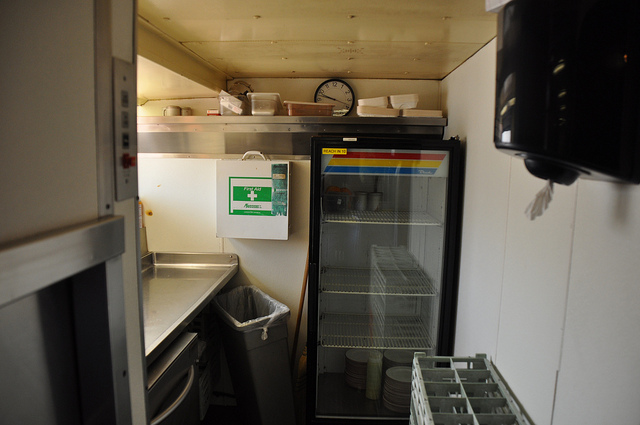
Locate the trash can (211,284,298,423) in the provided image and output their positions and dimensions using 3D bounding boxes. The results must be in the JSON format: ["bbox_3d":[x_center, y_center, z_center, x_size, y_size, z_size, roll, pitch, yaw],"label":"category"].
[{"bbox_3d":[-0.434,0.947,2.915,0.498,0.841,0.542,1,5,-18],"label":"trash can"}]

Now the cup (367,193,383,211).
[{"bbox_3d":[0.347,-0.072,2.935,0.099,0.105,0.098,0,10,0],"label":"cup"}]

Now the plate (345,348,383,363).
[{"bbox_3d":[0.262,0.920,3.011,0.147,0.019,0.144,-1,6,-8],"label":"plate"}]

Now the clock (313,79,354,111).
[{"bbox_3d":[0.107,-0.773,3.191,0.283,0.265,0.027,-9,6,-18],"label":"clock"}]

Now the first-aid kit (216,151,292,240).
[{"bbox_3d":[-0.418,-0.118,3.019,0.486,0.555,0.190,2,6,6],"label":"first-aid kit"}]

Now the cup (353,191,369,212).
[{"bbox_3d":[0.255,-0.074,2.940,0.110,0.119,0.108,0,2,0],"label":"cup"}]

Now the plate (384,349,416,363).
[{"bbox_3d":[0.506,0.909,2.932,0.119,0.016,0.117,-2,8,-15],"label":"plate"}]

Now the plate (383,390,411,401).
[{"bbox_3d":[0.498,1.099,2.808,0.105,0.024,0.096,4,0,15],"label":"plate"}]

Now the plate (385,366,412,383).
[{"bbox_3d":[0.496,0.995,2.864,0.168,0.062,0.134,3,5,2],"label":"plate"}]

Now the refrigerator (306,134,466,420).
[{"bbox_3d":[0.373,0.395,2.847,0.898,1.720,0.341,3,5,2],"label":"refrigerator"}]
